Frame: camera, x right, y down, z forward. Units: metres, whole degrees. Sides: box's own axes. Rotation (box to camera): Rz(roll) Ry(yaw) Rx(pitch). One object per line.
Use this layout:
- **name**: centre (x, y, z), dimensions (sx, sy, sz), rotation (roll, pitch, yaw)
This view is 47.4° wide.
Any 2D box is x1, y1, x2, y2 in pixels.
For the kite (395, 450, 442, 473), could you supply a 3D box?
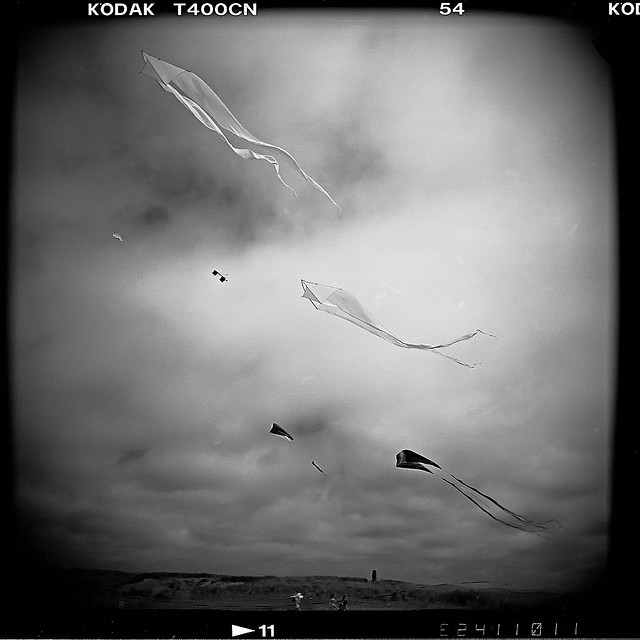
- **kite**: centre (0.466, 0.671, 3.487), dimensions (0.217, 0.104, 0.042), rotation (-1, 24, 3)

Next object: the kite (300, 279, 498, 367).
- **kite**: centre (0.364, 0.025, 3.493), dimensions (0.764, 0.127, 0.141), rotation (21, 61, 1)

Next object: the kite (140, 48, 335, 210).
- **kite**: centre (-0.410, -0.910, 3.466), dimensions (0.884, 0.725, 0.173), rotation (9, 27, 26)

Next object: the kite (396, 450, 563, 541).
- **kite**: centre (0.790, 0.837, 3.477), dimensions (0.786, 0.127, 0.130), rotation (24, -8, 15)
